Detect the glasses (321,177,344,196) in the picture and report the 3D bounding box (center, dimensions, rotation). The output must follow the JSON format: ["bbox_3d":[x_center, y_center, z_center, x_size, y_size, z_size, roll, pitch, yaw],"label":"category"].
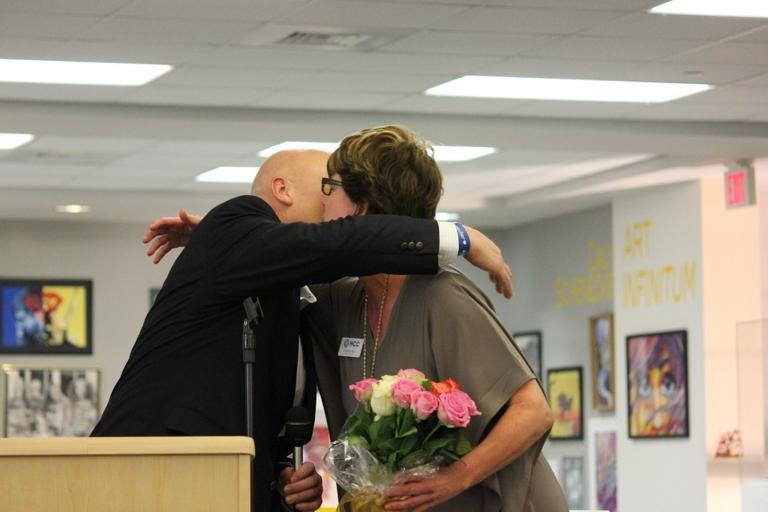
[{"bbox_3d":[-0.283,-0.376,6.469,0.096,0.032,0.098,8,-11,-3],"label":"glasses"}]

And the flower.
[{"bbox_3d":[0.138,0.897,6.198,0.532,0.556,0.515,-7,18,-44],"label":"flower"}]

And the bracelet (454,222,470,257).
[{"bbox_3d":[0.399,-0.078,6.336,0.090,0.146,0.106,-7,1,-4],"label":"bracelet"}]
